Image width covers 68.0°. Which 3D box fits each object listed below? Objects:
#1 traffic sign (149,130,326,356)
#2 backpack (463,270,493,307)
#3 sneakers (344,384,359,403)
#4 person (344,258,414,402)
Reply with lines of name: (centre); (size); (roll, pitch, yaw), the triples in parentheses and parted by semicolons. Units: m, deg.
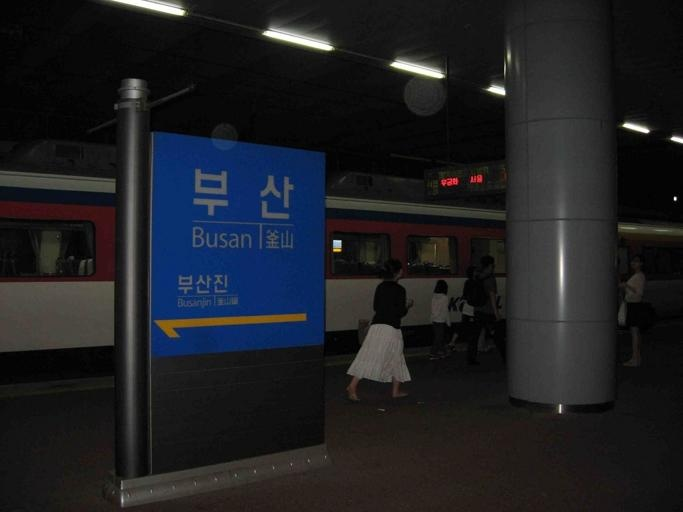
traffic sign: (-1.114, -0.079, 5.203); (2.206, 2.693, 0.261); (0, 2, -28)
backpack: (2.996, 0.715, 11.042); (0.619, 0.967, 0.462); (-7, -12, 43)
sneakers: (0.162, 2.228, 8.209); (0.114, 0.287, 0.375); (-1, -10, 30)
person: (0.625, 1.182, 8.041); (0.879, 2.253, 0.355); (0, -1, 8)
